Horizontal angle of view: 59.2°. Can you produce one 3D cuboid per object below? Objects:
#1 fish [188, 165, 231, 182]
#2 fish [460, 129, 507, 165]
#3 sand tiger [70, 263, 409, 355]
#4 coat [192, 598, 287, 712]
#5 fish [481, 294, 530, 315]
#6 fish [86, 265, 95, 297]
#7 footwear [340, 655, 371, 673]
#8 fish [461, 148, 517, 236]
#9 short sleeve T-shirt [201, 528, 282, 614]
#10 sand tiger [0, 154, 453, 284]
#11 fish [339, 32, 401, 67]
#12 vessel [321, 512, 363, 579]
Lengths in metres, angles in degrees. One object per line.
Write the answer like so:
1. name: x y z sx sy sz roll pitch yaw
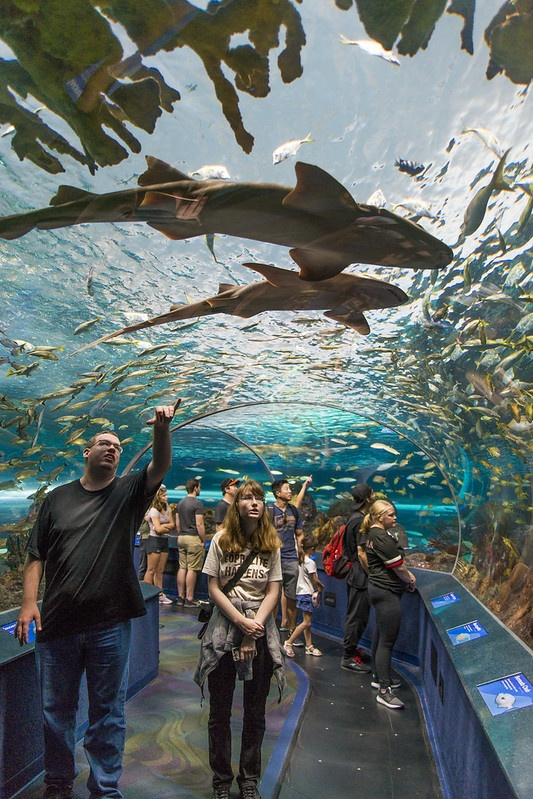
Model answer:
1. fish: -0.403 -1.663 3.444 0.324 0.099 0.133 0 -40 -3
2. fish: 1.442 -1.712 3.101 0.267 0.173 0.114 3 -4 -1
3. sand tiger: 0.164 -0.871 4.953 2.065 0.308 0.935 -2 -27 29
4. coat: -0.200 1.632 3.174 0.634 0.659 0.447 6 4 -24
5. fish: 1.942 -0.777 3.856 0.107 0.218 0.431 5 -3 -16
6. fish: -1.890 -1.266 5.036 0.105 0.117 0.318 4 -23 -19
7. footwear: 1.224 3.554 6.288 0.444 0.156 0.150 -4 -14 17
8. fish: 1.624 -1.518 3.477 0.229 0.102 0.538 25 -28 -5
9. short sleeve T-shirt: -0.183 1.162 3.223 0.639 0.482 0.303 11 -3 -13
10. sand tiger: -0.178 -1.466 3.789 3.486 0.428 1.193 2 -3 4
11. fish: 0.633 -2.098 2.787 0.401 0.140 0.114 21 37 20
12. vessel: 1.049 2.078 6.671 0.577 0.823 0.680 8 -12 5
